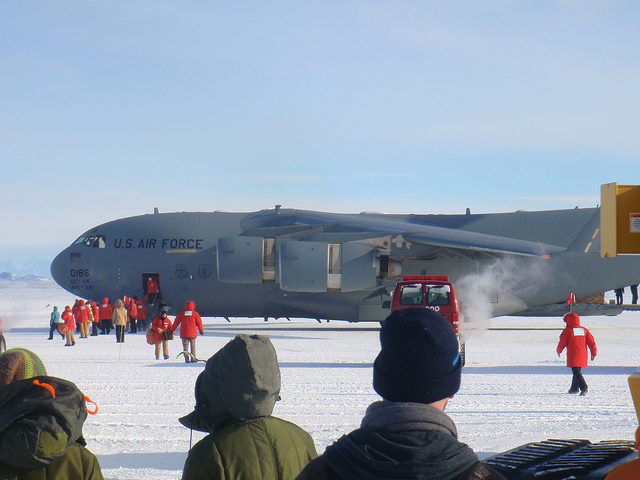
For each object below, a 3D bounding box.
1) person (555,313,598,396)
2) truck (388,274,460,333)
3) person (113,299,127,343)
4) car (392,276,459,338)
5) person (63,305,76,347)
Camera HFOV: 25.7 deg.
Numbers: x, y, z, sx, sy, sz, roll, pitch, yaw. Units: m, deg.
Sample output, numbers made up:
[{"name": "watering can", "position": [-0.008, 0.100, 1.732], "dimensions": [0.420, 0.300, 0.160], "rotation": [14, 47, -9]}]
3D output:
[{"name": "person", "position": [7.212, 3.192, 39.470], "dimensions": [1.096, 2.142, 1.453], "rotation": [1, 0, 9]}, {"name": "truck", "position": [3.281, 2.384, 44.992], "dimensions": [2.718, 2.324, 4.063], "rotation": [1, -6, 3]}, {"name": "person", "position": [-6.857, 2.765, 47.431], "dimensions": [0.413, 1.437, 0.703], "rotation": [1, 0, -6]}, {"name": "car", "position": [3.256, 1.902, 43.210], "dimensions": [1.481, 1.353, 2.395], "rotation": [0, 1, 7]}, {"name": "person", "position": [-8.548, 2.891, 47.417], "dimensions": [0.431, 1.369, 2.021], "rotation": [1, 0, -10]}]
